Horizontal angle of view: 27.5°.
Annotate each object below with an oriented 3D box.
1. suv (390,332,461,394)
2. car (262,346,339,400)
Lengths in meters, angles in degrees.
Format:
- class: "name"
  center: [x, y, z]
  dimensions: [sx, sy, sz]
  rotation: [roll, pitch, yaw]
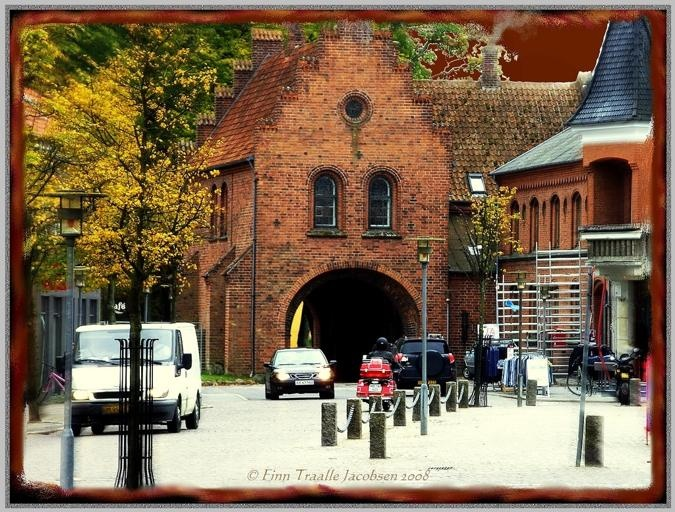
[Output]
- class: "suv"
  center: [2.604, 3.259, 41.941]
  dimensions: [1.498, 1.486, 3.414]
  rotation: [-1, -2, 7]
- class: "car"
  center: [-1.192, 3.539, 41.839]
  dimensions: [2.051, 1.585, 1.475]
  rotation: [0, -9, 7]
